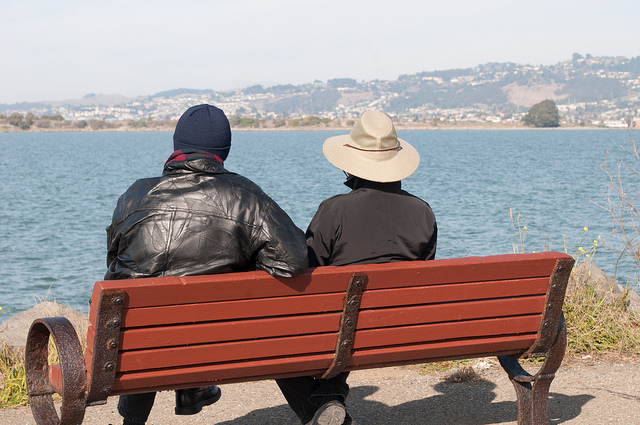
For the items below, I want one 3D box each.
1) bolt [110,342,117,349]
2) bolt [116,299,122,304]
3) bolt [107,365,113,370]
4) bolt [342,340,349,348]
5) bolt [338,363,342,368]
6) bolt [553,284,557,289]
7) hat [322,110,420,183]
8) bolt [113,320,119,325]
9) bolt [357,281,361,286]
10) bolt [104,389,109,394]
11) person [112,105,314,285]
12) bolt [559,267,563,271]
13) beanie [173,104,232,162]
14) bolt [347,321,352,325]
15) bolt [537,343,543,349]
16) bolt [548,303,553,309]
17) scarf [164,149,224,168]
[{"bbox_3d":[-1.650,1.065,7.179,0.045,0.042,0.042,-7,17,13],"label":"bolt"},{"bbox_3d":[-1.594,0.704,7.102,0.033,0.007,0.031,-8,-11,2],"label":"bolt"},{"bbox_3d":[-1.682,1.250,7.199,0.033,0.030,0.033,0,0,-25],"label":"bolt"},{"bbox_3d":[0.216,1.110,7.561,0.042,0.053,0.016,-5,34,4],"label":"bolt"},{"bbox_3d":[0.169,1.300,7.596,0.033,0.028,0.007,-5,14,-7],"label":"bolt"},{"bbox_3d":[2.049,0.649,7.834,0.062,0.035,0.021,-3,2,-22],"label":"bolt"},{"bbox_3d":[0.452,-0.605,8.063,0.853,0.613,0.577,-4,13,0],"label":"hat"},{"bbox_3d":[-1.626,0.878,7.149,0.077,0.043,0.027,-1,9,-11],"label":"bolt"},{"bbox_3d":[0.324,0.592,7.476,0.037,0.021,0.014,-2,4,-27],"label":"bolt"},{"bbox_3d":[-1.718,1.442,7.227,0.031,0.024,0.025,1,7,2],"label":"bolt"},{"bbox_3d":[-0.988,-0.149,7.839,1.963,1.462,1.029,4,7,-1],"label":"person"},{"bbox_3d":[2.097,0.492,7.811,0.028,0.032,0.007,-8,14,-17],"label":"bolt"},{"bbox_3d":[-1.097,-0.720,7.944,0.625,0.567,0.609,3,4,-7],"label":"beanie"},{"bbox_3d":[0.250,0.931,7.532,0.050,0.028,0.021,0,14,-5],"label":"bolt"},{"bbox_3d":[1.936,1.178,7.912,0.056,0.028,0.019,-3,4,-34],"label":"bolt"},{"bbox_3d":[2.016,0.817,7.856,0.043,0.046,0.008,-5,14,-5],"label":"bolt"},{"bbox_3d":[-1.072,-0.471,7.623,0.484,0.147,0.243,-5,12,-7],"label":"scarf"}]
